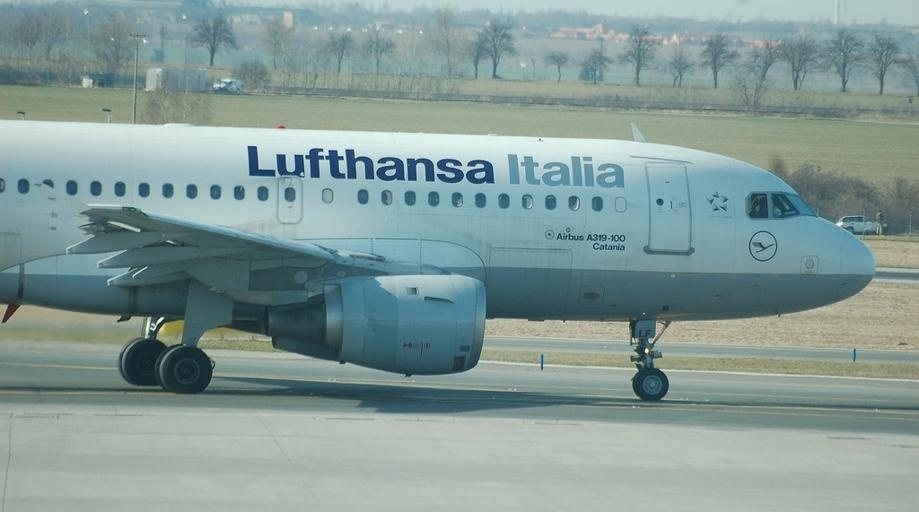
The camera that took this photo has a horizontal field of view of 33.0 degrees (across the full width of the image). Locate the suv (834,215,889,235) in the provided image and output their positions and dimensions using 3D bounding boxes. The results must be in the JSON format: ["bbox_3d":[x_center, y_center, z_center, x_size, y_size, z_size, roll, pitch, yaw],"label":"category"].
[{"bbox_3d":[25.790,-2.008,99.861,3.274,1.065,1.601,-2,9,-4],"label":"suv"}]
